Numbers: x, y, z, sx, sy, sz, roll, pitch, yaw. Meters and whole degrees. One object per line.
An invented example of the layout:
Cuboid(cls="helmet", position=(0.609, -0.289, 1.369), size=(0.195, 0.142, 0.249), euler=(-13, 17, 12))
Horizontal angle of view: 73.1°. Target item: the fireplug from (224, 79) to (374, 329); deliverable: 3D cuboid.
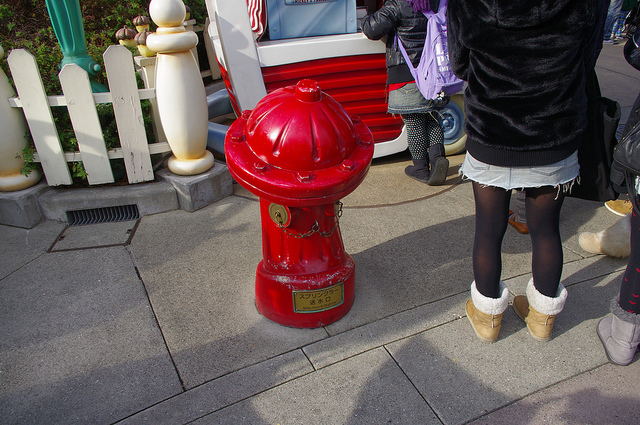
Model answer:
Cuboid(cls="fireplug", position=(-0.112, -0.099, 3.292), size=(0.954, 1.879, 1.117), euler=(1, 37, -1))

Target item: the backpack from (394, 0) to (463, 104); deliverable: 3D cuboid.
Cuboid(cls="backpack", position=(0.945, -1.445, 3.811), size=(0.541, 0.848, 0.482), euler=(-35, 54, -13))

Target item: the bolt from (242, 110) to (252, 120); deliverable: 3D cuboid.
Cuboid(cls="bolt", position=(-0.517, -0.685, 3.021), size=(0.049, 0.044, 0.057), euler=(4, 32, 7))

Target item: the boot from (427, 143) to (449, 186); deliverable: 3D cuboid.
Cuboid(cls="boot", position=(1.235, -0.494, 4.557), size=(0.199, 0.405, 0.253), euler=(2, 32, 13))

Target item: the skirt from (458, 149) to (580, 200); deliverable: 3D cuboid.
Cuboid(cls="skirt", position=(1.249, -0.233, 2.671), size=(0.454, 0.205, 0.322), euler=(6, 46, 14))

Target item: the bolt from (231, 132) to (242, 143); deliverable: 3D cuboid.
Cuboid(cls="bolt", position=(-0.547, -0.489, 2.843), size=(0.067, 0.044, 0.056), euler=(-4, 33, 2))

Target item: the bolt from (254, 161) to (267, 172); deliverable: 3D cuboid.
Cuboid(cls="bolt", position=(-0.372, -0.284, 2.680), size=(0.056, 0.030, 0.063), euler=(-15, 56, -12))

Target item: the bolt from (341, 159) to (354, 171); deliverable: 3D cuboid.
Cuboid(cls="bolt", position=(0.175, -0.292, 2.767), size=(0.068, 0.071, 0.064), euler=(32, 64, 22))

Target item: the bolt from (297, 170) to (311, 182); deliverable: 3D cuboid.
Cuboid(cls="bolt", position=(-0.098, -0.220, 2.666), size=(0.082, 0.047, 0.057), euler=(-6, 33, -1))

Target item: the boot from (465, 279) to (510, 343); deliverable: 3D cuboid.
Cuboid(cls="boot", position=(1.124, 0.645, 3.111), size=(0.199, 0.354, 0.504), euler=(-2, 32, 6))
